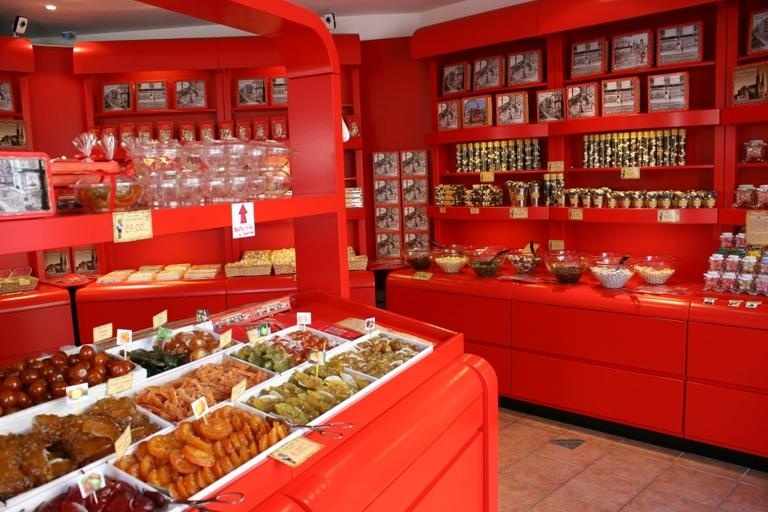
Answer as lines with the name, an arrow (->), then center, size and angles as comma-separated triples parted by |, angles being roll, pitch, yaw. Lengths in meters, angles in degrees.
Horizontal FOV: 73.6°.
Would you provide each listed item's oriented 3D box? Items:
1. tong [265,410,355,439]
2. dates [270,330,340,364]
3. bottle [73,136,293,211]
tong -> -0.304, 0.681, 2.050 | 0.341, 0.066, 0.091 | 0, 10, 3
dates -> -0.412, 0.450, 2.646 | 0.280, 0.077, 0.314 | -8, 12, -38
bottle -> -0.860, -0.383, 2.315 | 0.506, 0.304, 0.969 | 5, 11, 29
